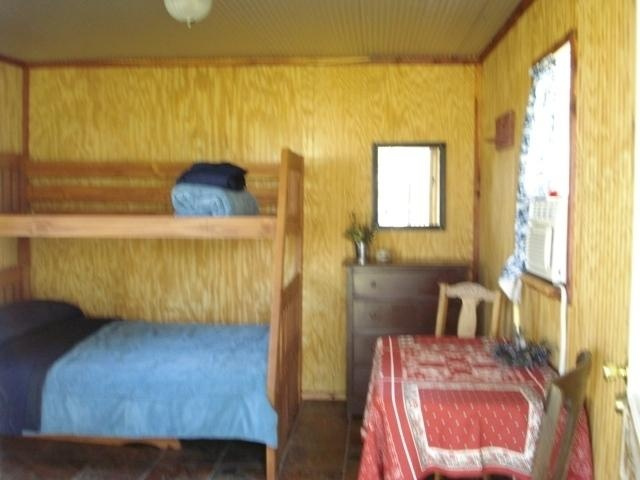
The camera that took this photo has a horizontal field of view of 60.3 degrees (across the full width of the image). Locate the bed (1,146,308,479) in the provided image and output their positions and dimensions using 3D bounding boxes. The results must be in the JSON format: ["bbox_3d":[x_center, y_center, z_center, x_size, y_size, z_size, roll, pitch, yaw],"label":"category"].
[{"bbox_3d":[-1.408,0.580,4.795,2.368,2.542,1.497,1,3,3],"label":"bed"}]

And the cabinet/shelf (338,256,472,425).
[{"bbox_3d":[0.677,0.772,4.342,1.330,1.729,0.639,0,0,0],"label":"cabinet/shelf"}]

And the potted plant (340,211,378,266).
[{"bbox_3d":[0.394,-0.009,5.319,0.365,0.579,0.342,-4,5,-31],"label":"potted plant"}]

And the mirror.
[{"bbox_3d":[0.918,-0.577,5.459,0.773,1.017,0.040,0,1,-1],"label":"mirror"}]
